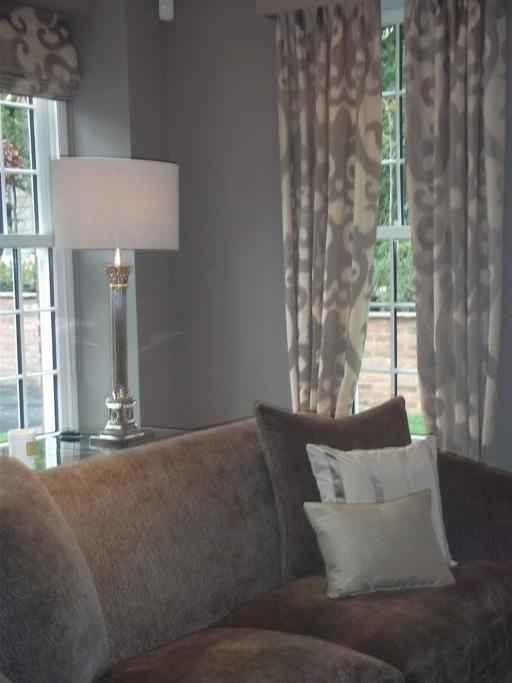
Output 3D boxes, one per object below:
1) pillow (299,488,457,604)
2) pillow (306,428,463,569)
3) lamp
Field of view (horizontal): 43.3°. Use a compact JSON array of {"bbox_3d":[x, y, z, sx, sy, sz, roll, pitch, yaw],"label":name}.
[{"bbox_3d":[0.304,0.539,1.580,0.298,0.169,0.476,7,4,0],"label":"pillow"},{"bbox_3d":[0.303,0.392,1.567,0.238,0.252,0.082,2,-32,-12],"label":"pillow"},{"bbox_3d":[-0.420,-0.124,2.013,0.317,0.919,0.337,3,16,-1],"label":"lamp"}]
